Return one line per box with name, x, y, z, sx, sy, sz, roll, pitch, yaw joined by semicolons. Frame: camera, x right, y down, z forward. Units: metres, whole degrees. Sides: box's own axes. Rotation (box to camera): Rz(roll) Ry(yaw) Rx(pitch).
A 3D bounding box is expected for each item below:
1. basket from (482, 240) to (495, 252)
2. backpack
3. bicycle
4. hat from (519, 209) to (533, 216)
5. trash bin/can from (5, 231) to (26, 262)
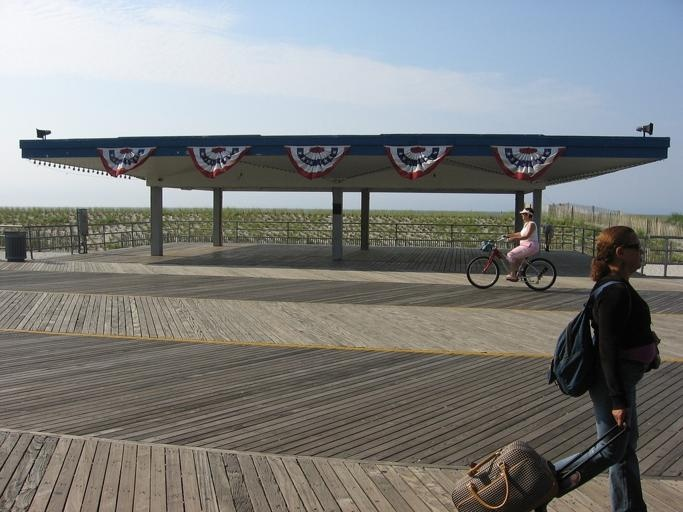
basket;3.529;-0.253;13.192;0.281;0.333;0.373;0;-4;-11
backpack;1.691;0.585;3.788;0.432;0.757;0.484;-5;7;-35
bicycle;4.183;0.220;13.612;2.245;1.056;1.054;2;-4;8
hat;4.365;-1.027;12.780;0.324;0.137;0.209;2;1;-14
trash bin/can;-11.080;-0.326;18.664;0.640;1.019;0.479;-2;7;-22
